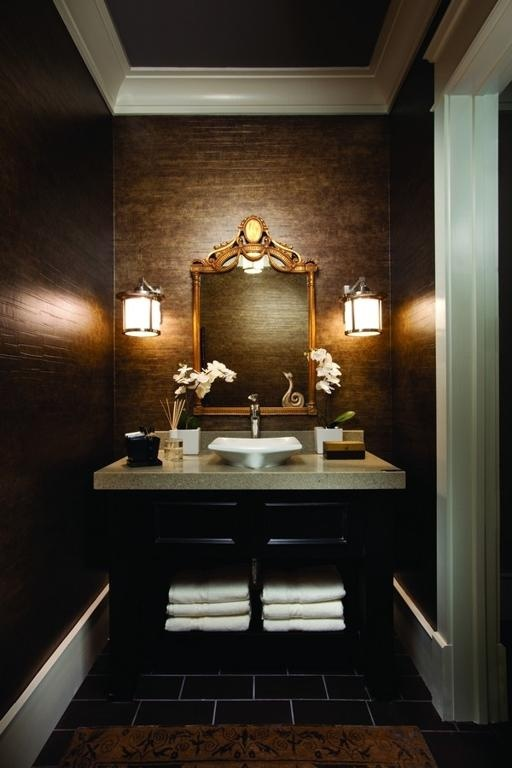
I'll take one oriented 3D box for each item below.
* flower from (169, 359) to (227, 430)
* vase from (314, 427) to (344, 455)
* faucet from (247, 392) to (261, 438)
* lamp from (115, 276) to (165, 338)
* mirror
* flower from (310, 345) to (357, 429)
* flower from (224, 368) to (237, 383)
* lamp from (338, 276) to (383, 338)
[{"bbox_3d":[-0.255,0.058,2.765,0.321,0.322,0.216,-1,2,-17],"label":"flower"},{"bbox_3d":[0.335,0.259,2.622,0.107,0.125,0.111,0,-2,-5],"label":"vase"},{"bbox_3d":[-0.008,0.152,2.706,0.058,0.194,0.179,0,2,0],"label":"faucet"},{"bbox_3d":[-0.540,-0.380,2.679,0.180,0.251,0.195,12,3,-3],"label":"lamp"},{"bbox_3d":[-0.008,-0.296,2.802,0.614,1.066,0.052,0,29,1],"label":"mirror"},{"bbox_3d":[0.356,0.026,2.740,0.221,0.386,0.210,0,2,11],"label":"flower"},{"bbox_3d":[-0.129,-0.036,2.750,0.029,0.070,0.060,-8,26,50],"label":"flower"},{"bbox_3d":[0.506,-0.368,2.719,0.201,0.309,0.206,6,-12,-34],"label":"lamp"}]
